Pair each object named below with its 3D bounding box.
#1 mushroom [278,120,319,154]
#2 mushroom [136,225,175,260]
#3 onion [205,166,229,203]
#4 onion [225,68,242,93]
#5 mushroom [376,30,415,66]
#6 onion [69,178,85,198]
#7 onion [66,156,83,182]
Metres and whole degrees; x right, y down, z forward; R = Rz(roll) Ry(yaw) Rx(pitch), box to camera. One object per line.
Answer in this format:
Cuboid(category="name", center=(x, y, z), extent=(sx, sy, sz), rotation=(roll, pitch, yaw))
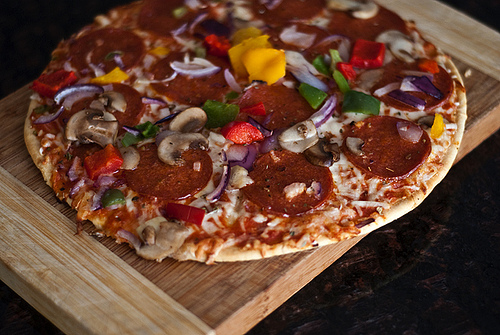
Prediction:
Cuboid(category="mushroom", center=(0.264, -0.178, 3.050), extent=(0.210, 0.066, 0.147), rotation=(-11, 63, -4))
Cuboid(category="mushroom", center=(-0.513, 0.417, 2.900), extent=(0.160, 0.063, 0.200), rotation=(-43, 83, -9))
Cuboid(category="onion", center=(-0.182, 0.099, 2.995), extent=(0.072, 0.055, 0.264), rotation=(31, 51, -5))
Cuboid(category="onion", center=(-0.116, -0.531, 3.361), extent=(0.044, 0.031, 0.257), rotation=(-5, 44, -35))
Cuboid(category="mushroom", center=(0.934, -0.761, 3.529), extent=(0.241, 0.072, 0.226), rotation=(2, 46, -9))
Cuboid(category="onion", center=(-0.966, 0.115, 3.071), extent=(0.098, 0.023, 0.061), rotation=(-53, 44, -1))
Cuboid(category="onion", center=(-0.986, 0.011, 3.121), extent=(0.088, 0.032, 0.130), rotation=(28, 72, 1))
